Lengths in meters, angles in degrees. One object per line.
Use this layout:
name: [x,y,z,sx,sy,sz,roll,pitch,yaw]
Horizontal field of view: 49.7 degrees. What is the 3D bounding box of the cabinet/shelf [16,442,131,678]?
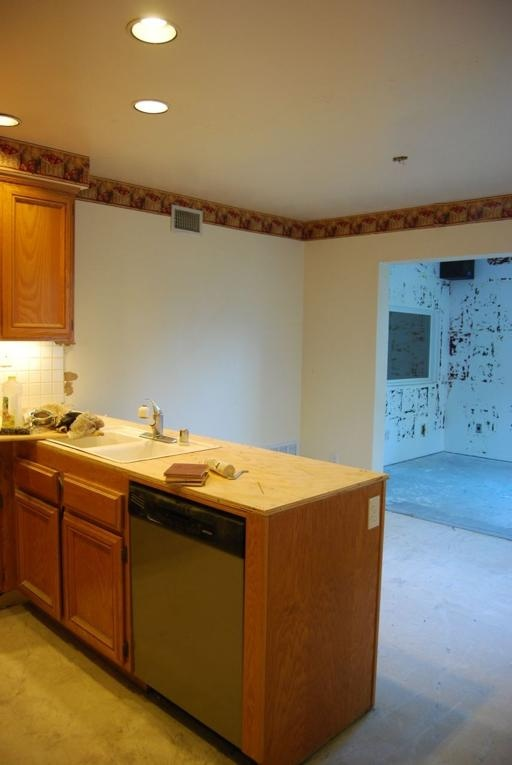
cabinet/shelf: [-0.736,0.726,2.262,0.368,0.718,0.768,-2,5,-42]
